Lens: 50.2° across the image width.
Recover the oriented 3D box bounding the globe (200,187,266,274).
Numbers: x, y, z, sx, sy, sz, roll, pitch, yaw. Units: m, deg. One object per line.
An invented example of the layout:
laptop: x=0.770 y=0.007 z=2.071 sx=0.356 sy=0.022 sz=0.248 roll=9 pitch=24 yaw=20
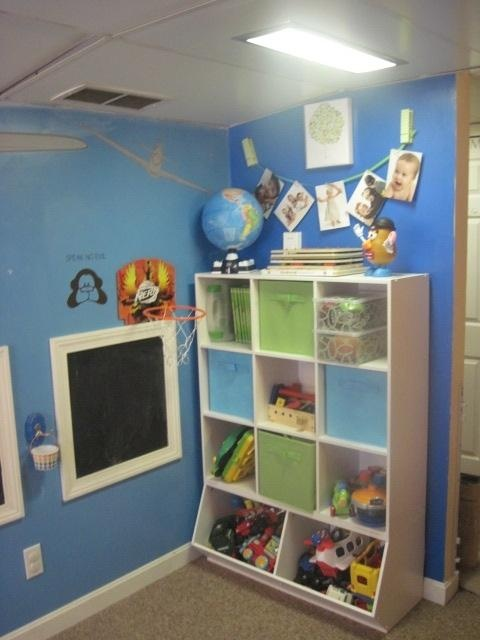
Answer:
globe: x=-0.048 y=-0.449 z=2.517 sx=0.303 sy=0.446 sz=0.321 roll=4 pitch=15 yaw=19

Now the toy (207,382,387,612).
toy: x=0.266 y=0.771 z=2.224 sx=0.935 sy=0.944 sz=0.331 roll=5 pitch=4 yaw=44
